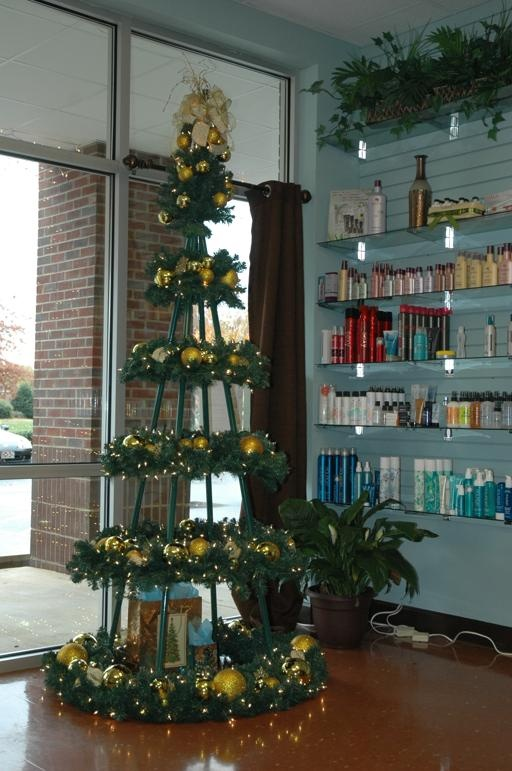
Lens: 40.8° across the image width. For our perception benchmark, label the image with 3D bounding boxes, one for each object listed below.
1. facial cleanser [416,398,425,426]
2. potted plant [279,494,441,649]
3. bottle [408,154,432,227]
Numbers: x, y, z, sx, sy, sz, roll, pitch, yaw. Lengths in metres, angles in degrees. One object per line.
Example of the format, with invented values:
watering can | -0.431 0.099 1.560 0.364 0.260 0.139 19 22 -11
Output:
facial cleanser | 0.813 0.130 3.399 0.026 0.129 0.051 7 -11 -40
potted plant | 0.421 0.907 3.266 0.652 0.601 0.739 6 -7 -43
bottle | 0.838 -0.986 3.508 0.110 0.444 0.258 -2 -9 15
